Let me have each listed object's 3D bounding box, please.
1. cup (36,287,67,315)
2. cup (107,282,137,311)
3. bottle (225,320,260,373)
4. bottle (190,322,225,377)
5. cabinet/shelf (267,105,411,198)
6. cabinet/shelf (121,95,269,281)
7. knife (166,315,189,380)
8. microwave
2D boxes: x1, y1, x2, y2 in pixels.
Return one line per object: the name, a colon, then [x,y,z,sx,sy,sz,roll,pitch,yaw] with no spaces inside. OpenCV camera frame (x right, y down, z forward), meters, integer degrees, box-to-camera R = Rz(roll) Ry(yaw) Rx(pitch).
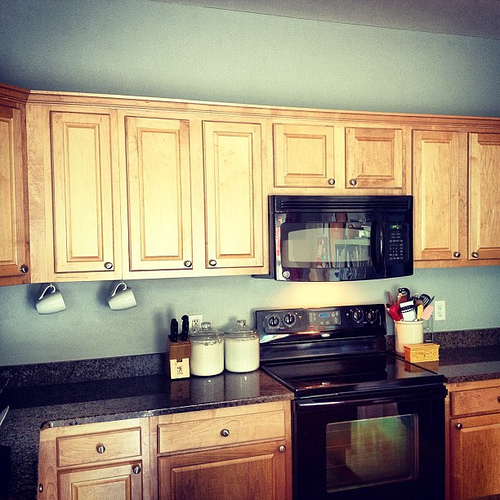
cup: [-0.948,0.244,2.491,0.121,0.165,0.194,-5,12,-23]
cup: [-0.611,0.226,2.505,0.118,0.154,0.097,3,-8,-25]
bottle: [-0.033,0.480,2.689,0.192,0.256,0.191,-4,-2,0]
bottle: [-0.217,0.487,2.631,0.181,0.256,0.192,-2,1,0]
cabinet/shelf: [0.448,-0.474,2.717,0.776,0.374,0.157,-3,6,-17]
cabinet/shelf: [-0.277,-0.297,2.462,0.888,0.986,0.347,-1,-1,-18]
knife: [-0.358,0.458,2.600,0.121,0.315,0.209,-2,11,-10]
microwave: [0.489,-0.038,2.784,0.700,0.455,0.426,0,-10,3]
